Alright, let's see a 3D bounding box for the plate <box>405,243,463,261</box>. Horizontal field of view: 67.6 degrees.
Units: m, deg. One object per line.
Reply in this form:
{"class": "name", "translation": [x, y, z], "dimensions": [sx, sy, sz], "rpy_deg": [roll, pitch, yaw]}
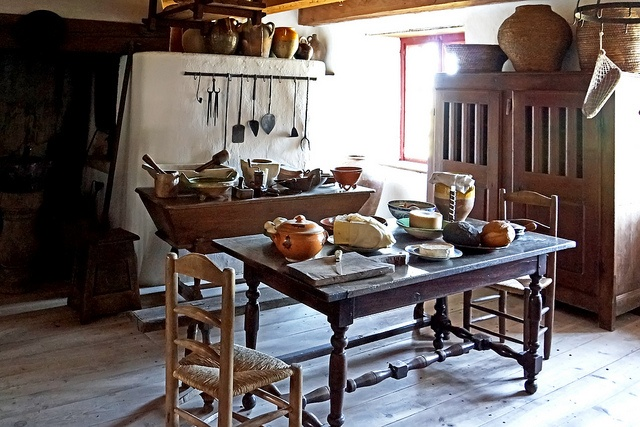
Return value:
{"class": "plate", "translation": [0.728, 0.240, 3.078], "dimensions": [0.359, 0.081, 0.256], "rpy_deg": [2, 15, 13]}

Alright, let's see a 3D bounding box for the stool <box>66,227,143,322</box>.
{"class": "stool", "translation": [-2.117, 0.583, 4.538], "dimensions": [0.619, 0.762, 0.667], "rpy_deg": [7, 4, 40]}

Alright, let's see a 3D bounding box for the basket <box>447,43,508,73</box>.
{"class": "basket", "translation": [1.596, -1.601, 5.000], "dimensions": [0.446, 0.147, 0.449], "rpy_deg": [3, 5, 37]}

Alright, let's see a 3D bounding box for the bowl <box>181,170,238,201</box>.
{"class": "bowl", "translation": [-0.974, -0.262, 4.274], "dimensions": [0.377, 0.212, 0.392], "rpy_deg": [-1, 15, 0]}

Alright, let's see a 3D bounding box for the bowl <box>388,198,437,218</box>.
{"class": "bowl", "translation": [0.680, -0.045, 3.667], "dimensions": [0.214, 0.075, 0.204], "rpy_deg": [2, 6, 0]}

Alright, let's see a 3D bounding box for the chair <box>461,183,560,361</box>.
{"class": "chair", "translation": [1.538, 0.473, 3.852], "dimensions": [0.639, 1.264, 0.635], "rpy_deg": [6, 8, 45]}

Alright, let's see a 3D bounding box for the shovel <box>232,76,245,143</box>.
{"class": "shovel", "translation": [-0.894, -1.115, 5.256], "dimensions": [0.187, 0.715, 0.055], "rpy_deg": [-16, 21, -41]}

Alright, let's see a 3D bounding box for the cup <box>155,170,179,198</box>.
{"class": "cup", "translation": [-1.310, -0.242, 4.106], "dimensions": [0.208, 0.209, 0.119], "rpy_deg": [-6, 16, -15]}

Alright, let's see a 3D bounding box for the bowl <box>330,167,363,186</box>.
{"class": "bowl", "translation": [0.260, -0.307, 4.214], "dimensions": [0.212, 0.189, 0.297], "rpy_deg": [9, 18, 34]}

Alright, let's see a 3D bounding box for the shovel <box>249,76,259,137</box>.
{"class": "shovel", "translation": [-0.740, -1.172, 5.326], "dimensions": [0.143, 0.656, 0.049], "rpy_deg": [-16, 21, -42]}

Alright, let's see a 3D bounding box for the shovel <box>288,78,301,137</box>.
{"class": "shovel", "translation": [-0.305, -1.200, 5.550], "dimensions": [0.042, 0.657, 0.142], "rpy_deg": [11, 20, 39]}

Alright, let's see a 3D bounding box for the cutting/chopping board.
{"class": "cutting/chopping board", "translation": [0.116, 0.319, 2.770], "dimensions": [0.564, 0.085, 0.282], "rpy_deg": [-8, 16, -25]}

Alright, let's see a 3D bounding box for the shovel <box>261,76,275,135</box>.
{"class": "shovel", "translation": [-0.576, -1.216, 5.403], "dimensions": [0.182, 0.614, 0.036], "rpy_deg": [-3, 9, -38]}

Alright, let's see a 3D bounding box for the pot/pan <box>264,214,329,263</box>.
{"class": "pot/pan", "translation": [-0.155, 0.147, 2.936], "dimensions": [0.251, 0.167, 0.372], "rpy_deg": [1, 8, -21]}

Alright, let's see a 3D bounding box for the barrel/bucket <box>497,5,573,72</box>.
{"class": "barrel/bucket", "translation": [2.076, -1.643, 4.804], "dimensions": [0.777, 0.626, 0.701], "rpy_deg": [-5, 15, -12]}
